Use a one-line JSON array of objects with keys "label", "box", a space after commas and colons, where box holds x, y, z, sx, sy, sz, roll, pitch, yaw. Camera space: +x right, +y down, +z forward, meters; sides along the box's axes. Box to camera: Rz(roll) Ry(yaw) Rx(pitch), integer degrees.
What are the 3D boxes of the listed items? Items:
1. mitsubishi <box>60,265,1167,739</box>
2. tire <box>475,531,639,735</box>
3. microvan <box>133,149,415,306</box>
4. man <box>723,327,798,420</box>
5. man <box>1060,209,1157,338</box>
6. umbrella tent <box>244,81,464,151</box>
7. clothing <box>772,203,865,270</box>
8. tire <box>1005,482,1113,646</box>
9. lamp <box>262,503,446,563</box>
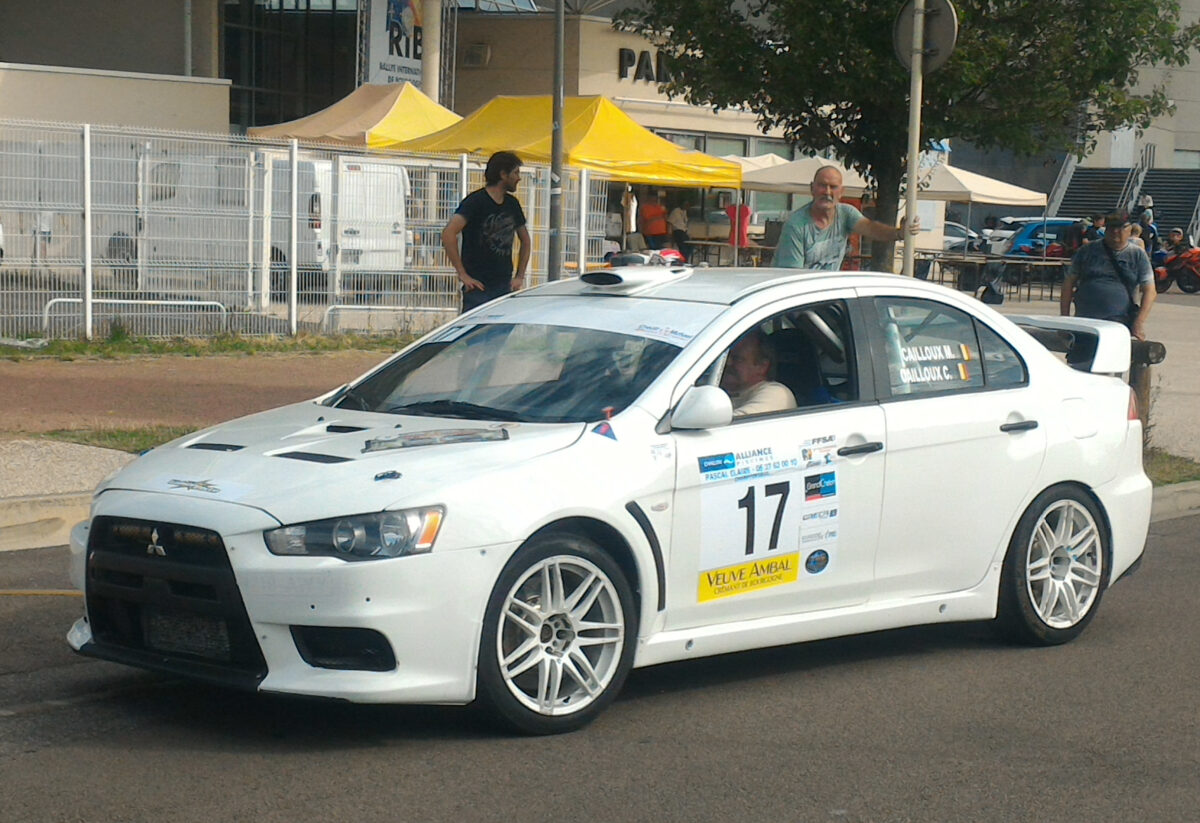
[{"label": "mitsubishi", "box": [0.289, 0.413, 7.589, 5.273, 1.858, 2.405, 0, 3, -36]}, {"label": "tire", "box": [-0.267, 1.074, 6.789, 0.941, 0.923, 0.298, 3, 0, -36]}, {"label": "microvan", "box": [-4.249, -2.517, 18.562, 2.352, 1.424, 2.319, -2, 3, -41]}, {"label": "man", "box": [0.815, -0.196, 7.633, 0.404, 0.443, 0.658, 5, 6, 9]}, {"label": "man", "box": [5.008, -1.338, 14.085, 0.831, 0.824, 0.495, 11, 12, 22]}, {"label": "umbrella tent", "box": [-4.528, -5.879, 27.933, 3.699, 1.154, 3.933, -11, 19, -29]}, {"label": "clothing", "box": [1.683, -1.404, 11.089, 0.676, 0.514, 0.616, 4, 11, 8]}, {"label": "tire", "box": [2.617, 0.873, 8.239, 0.239, 0.715, 0.713, -2, -35, 40]}, {"label": "lamp", "box": [-1.065, 0.559, 6.316, 0.436, 0.155, 0.353, -7, 0, -6]}]
